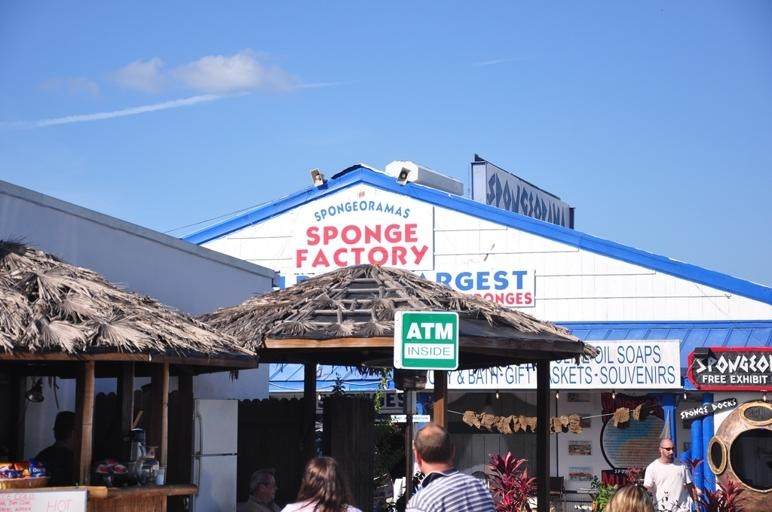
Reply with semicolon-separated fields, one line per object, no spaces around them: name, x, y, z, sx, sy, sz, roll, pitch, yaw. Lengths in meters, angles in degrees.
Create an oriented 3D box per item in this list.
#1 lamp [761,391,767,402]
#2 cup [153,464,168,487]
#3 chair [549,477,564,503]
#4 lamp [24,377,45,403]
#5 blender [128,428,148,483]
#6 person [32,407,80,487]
lamp;7.734;2.903;30.431;0.113;0.268;0.785;-3;-14;14
cup;-3.690;3.652;24.460;0.127;0.418;0.178;2;6;-4
chair;4.168;5.637;36.003;0.311;0.604;0.662;-2;-14;9
lamp;-6.184;2.401;26.424;0.332;0.424;0.580;4;-14;-13
blender;-4.020;3.253;24.247;0.261;0.820;0.213;7;-15;-25
person;-5.506;3.229;24.927;0.614;1.305;0.769;4;-14;-13
